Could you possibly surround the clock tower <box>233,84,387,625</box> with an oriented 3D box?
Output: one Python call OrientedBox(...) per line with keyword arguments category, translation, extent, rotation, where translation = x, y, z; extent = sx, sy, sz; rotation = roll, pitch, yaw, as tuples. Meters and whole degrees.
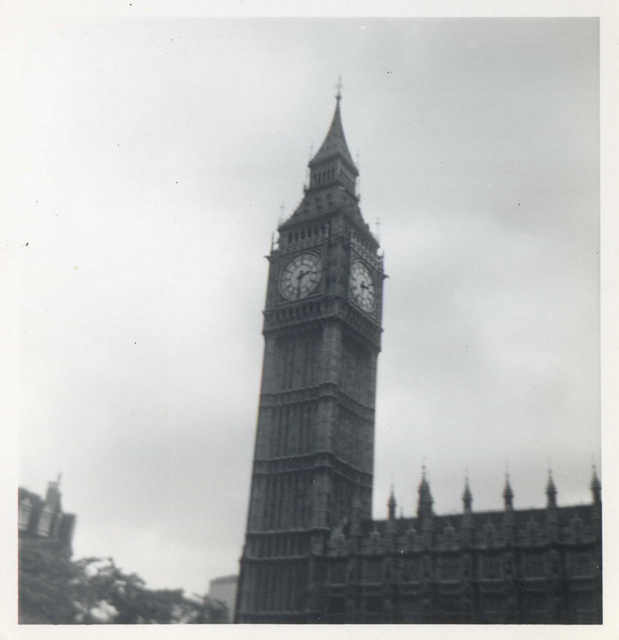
OrientedBox(category="clock tower", translation=(0.383, 1.391, 66.673), extent=(5.647, 27.154, 4.616), rotation=(6, -26, -3))
